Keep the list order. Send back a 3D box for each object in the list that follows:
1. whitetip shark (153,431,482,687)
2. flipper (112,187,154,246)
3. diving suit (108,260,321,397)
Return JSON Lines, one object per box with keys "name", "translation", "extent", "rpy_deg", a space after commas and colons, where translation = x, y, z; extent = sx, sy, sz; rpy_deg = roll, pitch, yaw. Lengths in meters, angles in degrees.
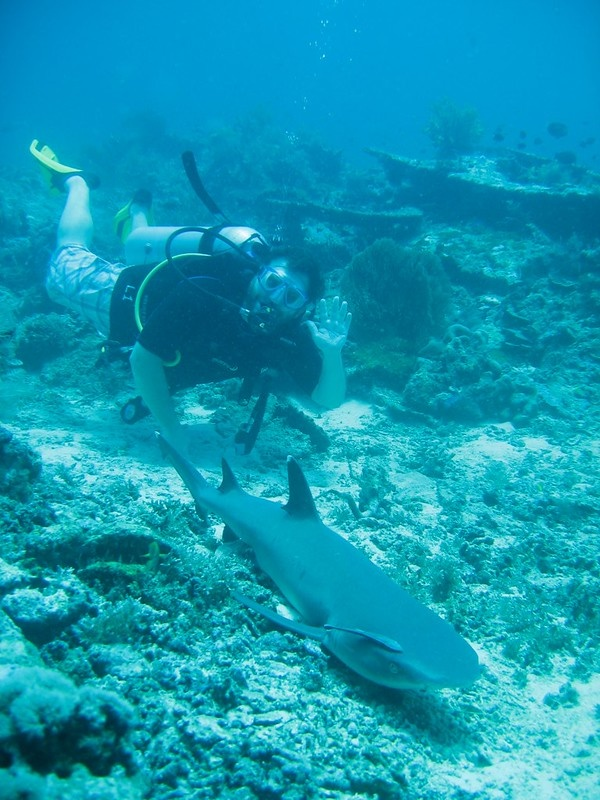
{"name": "whitetip shark", "translation": [-0.065, 0.818, 4.688], "extent": [0.652, 0.520, 2.315], "rpy_deg": [-20, 31, -33]}
{"name": "flipper", "translation": [-1.614, -1.771, 7.867], "extent": [0.432, 0.578, 0.203], "rpy_deg": [25, -46, 3]}
{"name": "diving suit", "translation": [-0.726, -0.588, 5.719], "extent": [1.522, 0.987, 0.969], "rpy_deg": [-2, -17, 29]}
